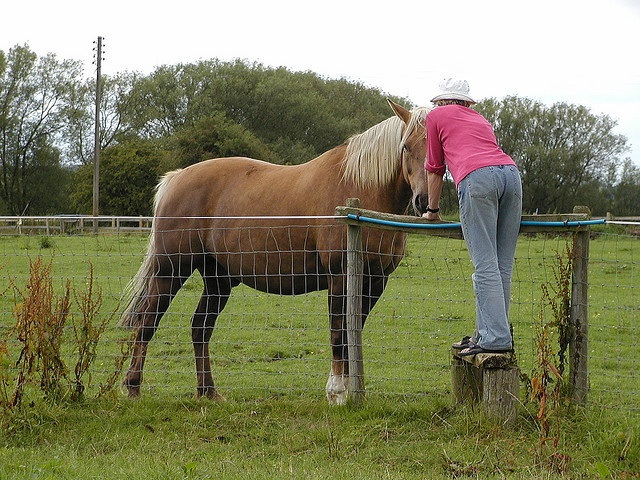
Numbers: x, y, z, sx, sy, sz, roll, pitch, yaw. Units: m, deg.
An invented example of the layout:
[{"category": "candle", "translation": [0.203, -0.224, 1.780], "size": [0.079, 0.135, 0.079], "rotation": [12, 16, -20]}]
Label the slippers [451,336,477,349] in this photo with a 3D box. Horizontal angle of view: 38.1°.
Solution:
[{"category": "slippers", "translation": [2.443, 1.753, 15.695], "size": [0.395, 0.186, 0.167], "rotation": [-6, -3, 27]}]

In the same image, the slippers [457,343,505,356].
[{"category": "slippers", "translation": [2.719, 1.869, 15.461], "size": [0.713, 0.310, 0.286], "rotation": [0, -6, 10]}]
